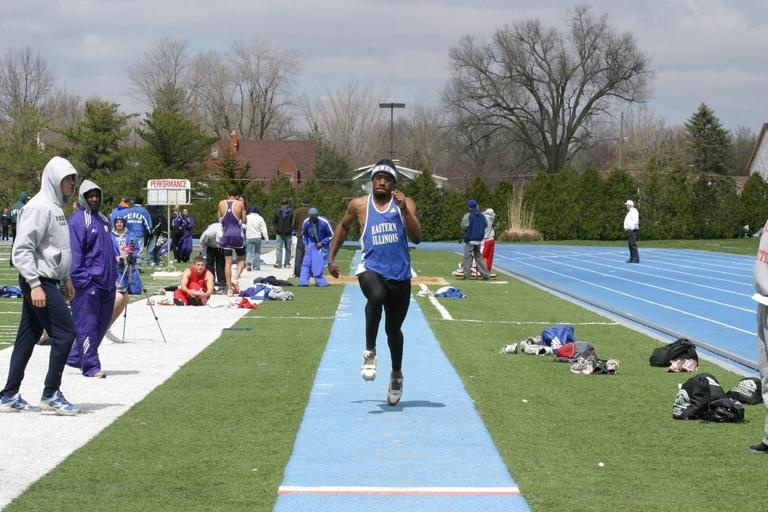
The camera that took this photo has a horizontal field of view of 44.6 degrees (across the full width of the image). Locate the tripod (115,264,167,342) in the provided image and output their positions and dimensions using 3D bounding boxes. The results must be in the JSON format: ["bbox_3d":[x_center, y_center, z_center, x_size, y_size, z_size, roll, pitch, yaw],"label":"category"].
[{"bbox_3d":[-4.686,0.940,17.957,1.210,1.596,1.145,-2,-6,-4],"label":"tripod"}]

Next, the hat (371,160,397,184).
[{"bbox_3d":[0.000,-1.049,11.798,0.306,0.314,0.452,-1,8,-2],"label":"hat"}]

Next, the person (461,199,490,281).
[{"bbox_3d":[2.585,-0.447,26.444,0.792,2.248,0.855,0,9,4],"label":"person"}]

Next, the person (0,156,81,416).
[{"bbox_3d":[-4.310,0.348,11.661,0.968,3.103,0.964,-1,9,-5],"label":"person"}]

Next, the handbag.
[{"bbox_3d":[3.991,1.727,11.513,0.576,0.378,0.697,4,-5,-8],"label":"handbag"}]

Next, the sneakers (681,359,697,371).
[{"bbox_3d":[4.480,1.588,13.685,0.146,0.084,0.198,2,5,13],"label":"sneakers"}]

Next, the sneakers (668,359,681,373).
[{"bbox_3d":[4.246,1.592,13.637,0.161,0.168,0.070,16,-6,35],"label":"sneakers"}]

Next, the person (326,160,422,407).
[{"bbox_3d":[-0.066,0.344,11.928,1.043,3.105,0.740,1,9,11],"label":"person"}]

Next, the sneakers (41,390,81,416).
[{"bbox_3d":[-3.953,1.816,11.592,0.592,0.287,0.215,5,4,15],"label":"sneakers"}]

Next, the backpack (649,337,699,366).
[{"bbox_3d":[4.312,1.443,13.982,0.529,0.219,0.437,-7,6,-11],"label":"backpack"}]

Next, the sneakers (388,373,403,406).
[{"bbox_3d":[0.146,1.721,12.025,0.156,0.435,0.196,5,-35,-4],"label":"sneakers"}]
